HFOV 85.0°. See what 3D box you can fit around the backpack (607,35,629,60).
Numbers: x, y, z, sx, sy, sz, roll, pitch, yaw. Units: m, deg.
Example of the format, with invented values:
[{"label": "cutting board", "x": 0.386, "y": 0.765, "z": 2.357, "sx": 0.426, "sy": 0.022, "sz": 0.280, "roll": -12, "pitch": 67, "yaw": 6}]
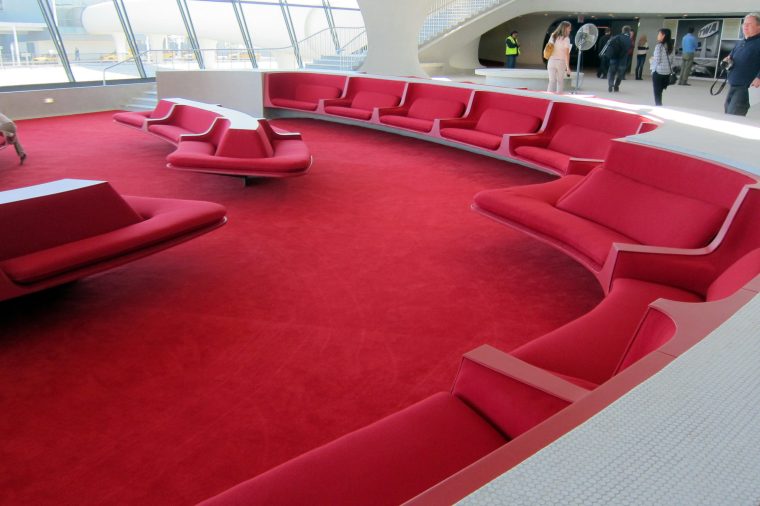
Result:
[{"label": "backpack", "x": 6.520, "y": -5.692, "z": 11.374, "sx": 0.764, "sy": 0.636, "sz": 0.442, "roll": -22, "pitch": 35, "yaw": -35}]
